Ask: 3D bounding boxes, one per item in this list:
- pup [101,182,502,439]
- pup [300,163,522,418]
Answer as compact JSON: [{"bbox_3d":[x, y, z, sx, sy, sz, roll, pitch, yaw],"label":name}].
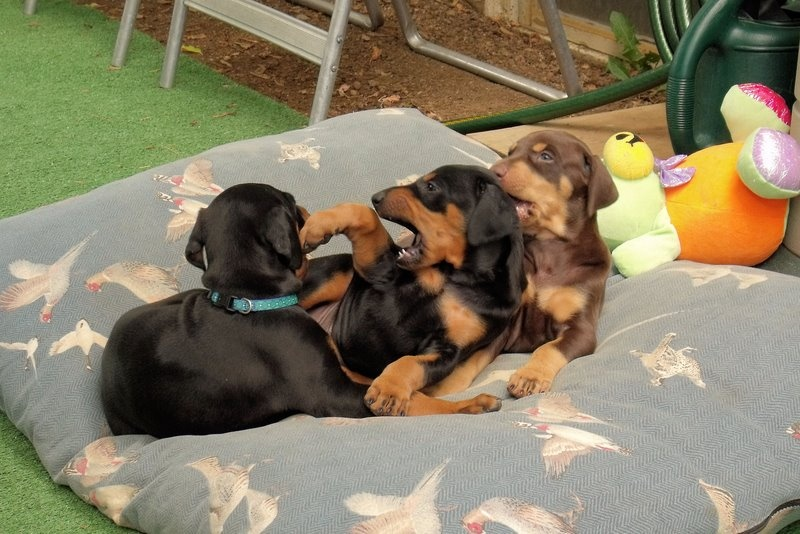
[{"bbox_3d":[-0.555,0.200,2.433,0.907,0.820,0.483,4,31,-8],"label":"pup"},{"bbox_3d":[0.061,0.124,2.604,0.882,0.731,0.542,10,-5,0],"label":"pup"}]
